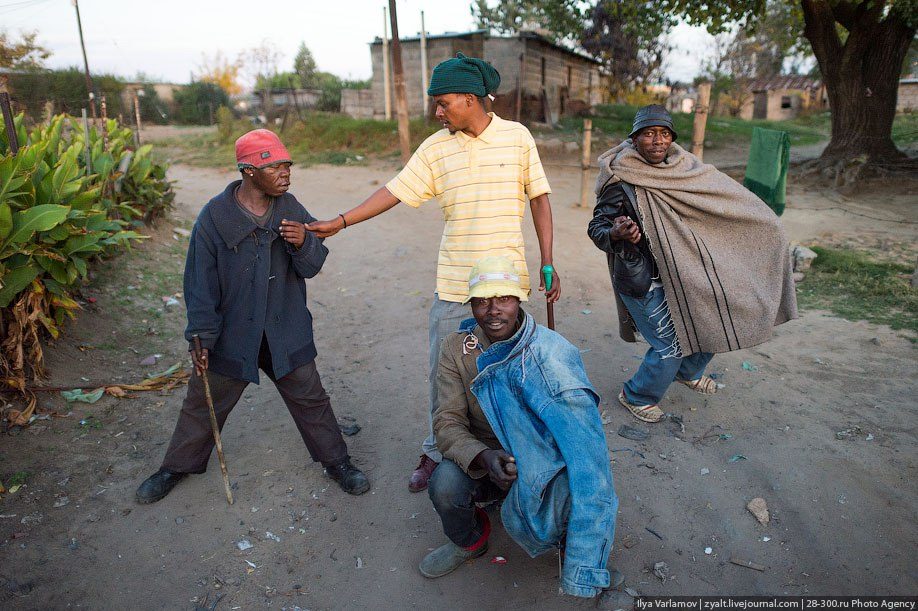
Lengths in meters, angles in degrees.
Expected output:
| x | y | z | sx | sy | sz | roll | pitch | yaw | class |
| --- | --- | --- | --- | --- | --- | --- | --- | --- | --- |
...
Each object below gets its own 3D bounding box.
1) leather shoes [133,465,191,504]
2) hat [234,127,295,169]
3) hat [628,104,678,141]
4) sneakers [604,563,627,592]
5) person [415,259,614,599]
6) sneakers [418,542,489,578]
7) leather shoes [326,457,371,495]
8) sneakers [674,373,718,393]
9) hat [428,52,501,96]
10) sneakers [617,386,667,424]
| x | y | z | sx | sy | sz | roll | pitch | yaw | class |
| --- | --- | --- | --- | --- | --- | --- | --- | --- | --- |
| -2.289 | 1.393 | 5.339 | 0.209 | 0.151 | 0.412 | 38 | 44 | 26 | leather shoes |
| -1.441 | -1.214 | 5.053 | 0.437 | 0.254 | 0.293 | 11 | 32 | 27 | hat |
| 1.649 | -1.582 | 5.751 | 0.322 | 0.196 | 0.329 | -2 | 7 | 3 | hat |
| 1.090 | 1.867 | 4.635 | 0.157 | 0.056 | 0.154 | 26 | 63 | 33 | sneakers |
| 0.446 | 0.828 | 4.531 | 1.286 | 2.205 | 0.890 | 5 | 21 | 14 | person |
| -0.008 | 1.791 | 4.852 | 0.511 | 0.202 | 0.175 | -11 | 56 | -11 | sneakers |
| -0.845 | 1.354 | 5.334 | 0.458 | 0.184 | 0.185 | 18 | 36 | 35 | leather shoes |
| 2.250 | 0.723 | 6.284 | 0.299 | 0.086 | 0.163 | 11 | 37 | 27 | sneakers |
| 0.045 | -1.813 | 5.137 | 0.604 | 0.321 | 0.373 | 3 | 27 | -14 | hat |
| 1.629 | 0.876 | 5.975 | 0.391 | 0.159 | 0.196 | 19 | 39 | 37 | sneakers |
